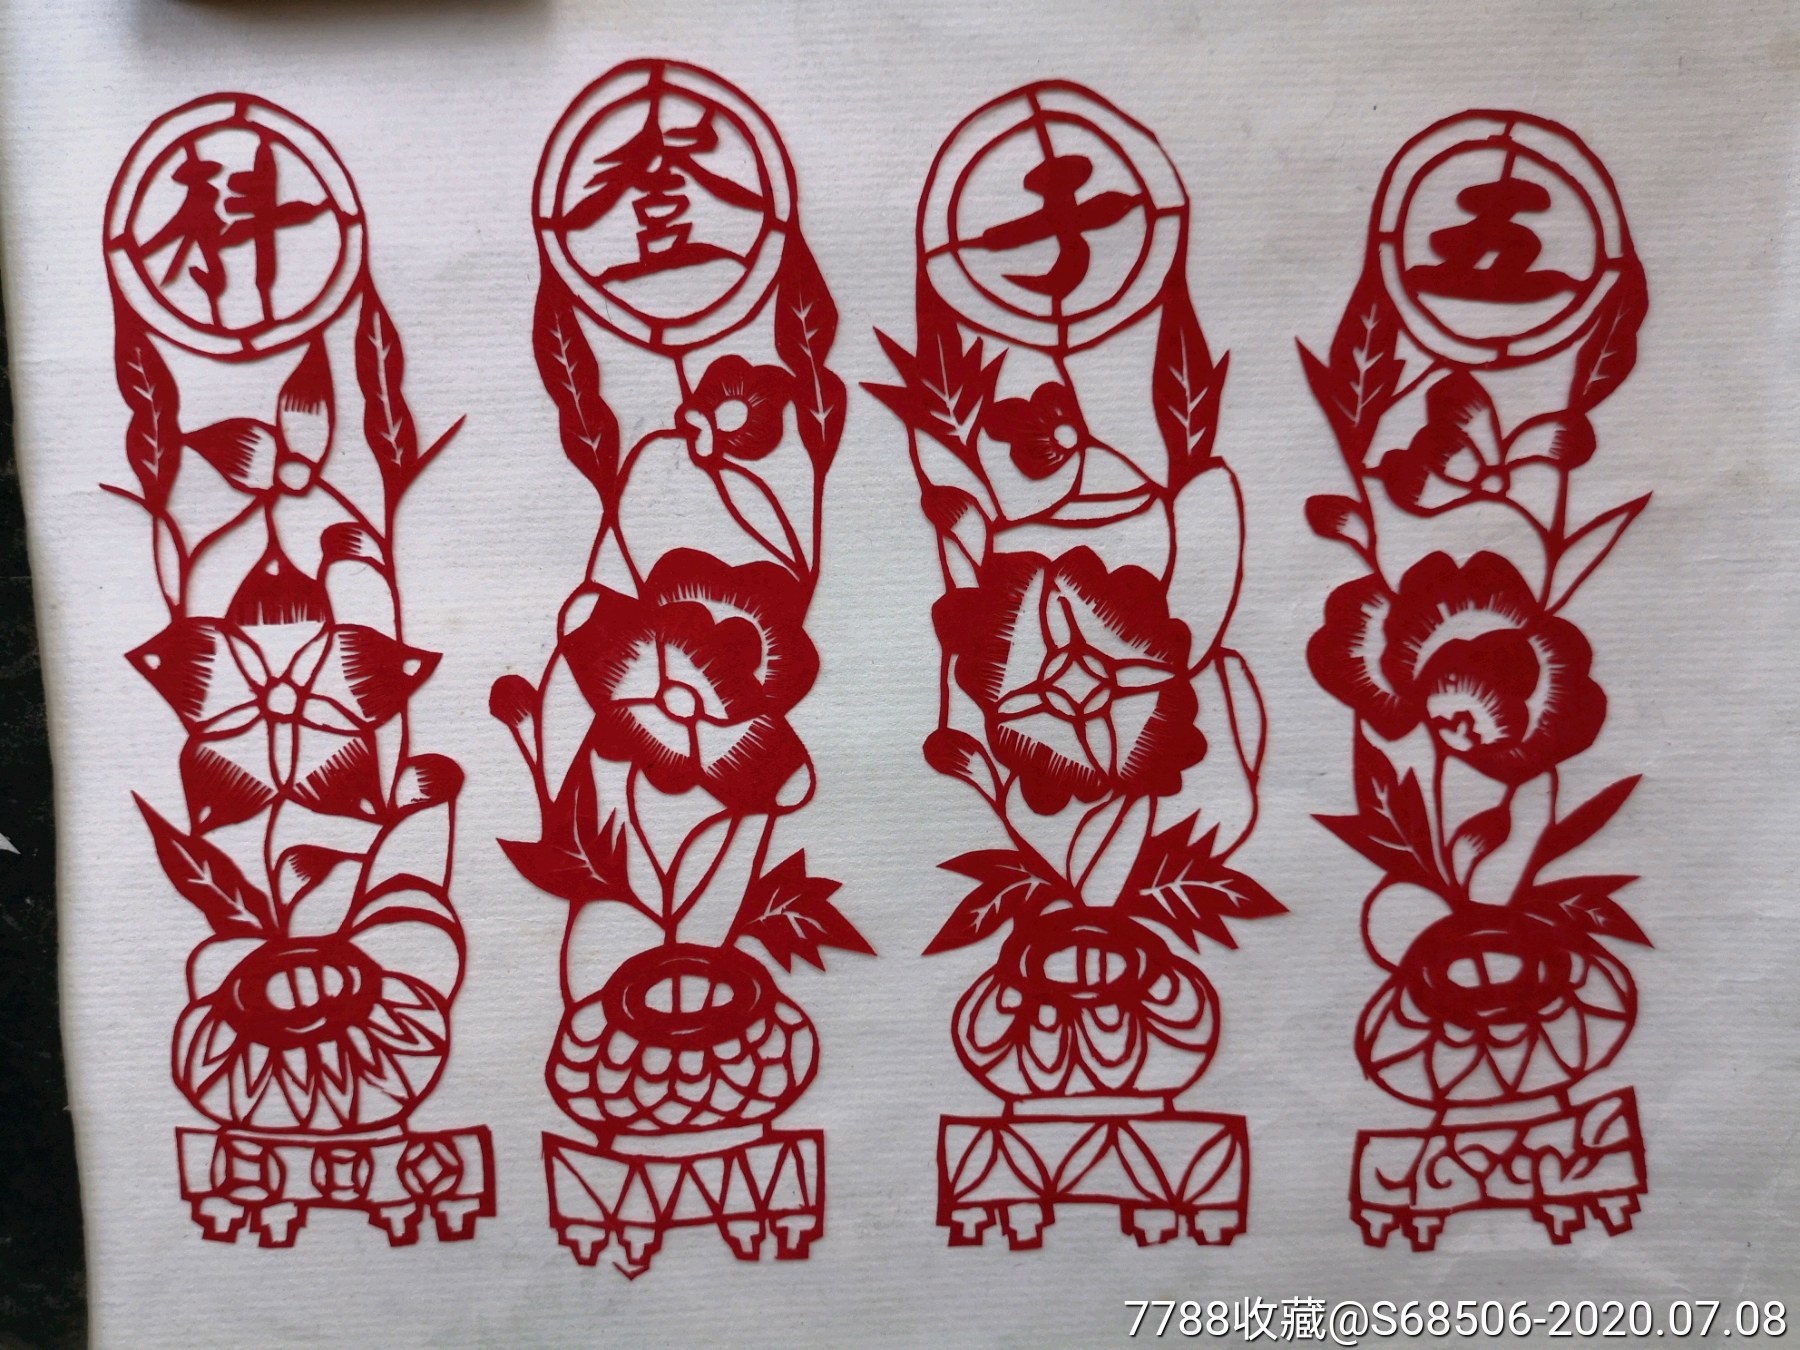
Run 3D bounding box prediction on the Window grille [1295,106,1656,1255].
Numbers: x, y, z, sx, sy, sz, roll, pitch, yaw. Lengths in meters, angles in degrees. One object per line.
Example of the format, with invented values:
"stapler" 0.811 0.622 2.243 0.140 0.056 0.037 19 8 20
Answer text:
"Window grille" 0.720 0.032 4.796 0.539 1.478 0.059 -3 8 -23
